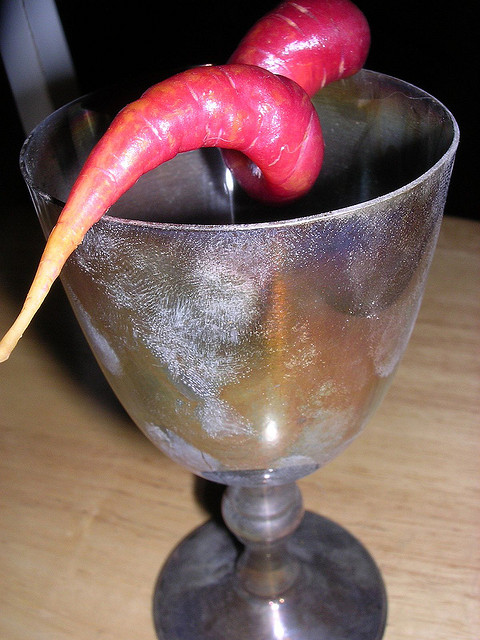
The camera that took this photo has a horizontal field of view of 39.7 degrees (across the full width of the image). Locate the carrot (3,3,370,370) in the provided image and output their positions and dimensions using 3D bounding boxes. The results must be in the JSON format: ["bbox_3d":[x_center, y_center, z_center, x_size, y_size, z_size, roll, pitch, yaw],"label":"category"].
[{"bbox_3d":[0.009,-0.099,0.329,0.090,0.080,0.309,21,49,22],"label":"carrot"}]
